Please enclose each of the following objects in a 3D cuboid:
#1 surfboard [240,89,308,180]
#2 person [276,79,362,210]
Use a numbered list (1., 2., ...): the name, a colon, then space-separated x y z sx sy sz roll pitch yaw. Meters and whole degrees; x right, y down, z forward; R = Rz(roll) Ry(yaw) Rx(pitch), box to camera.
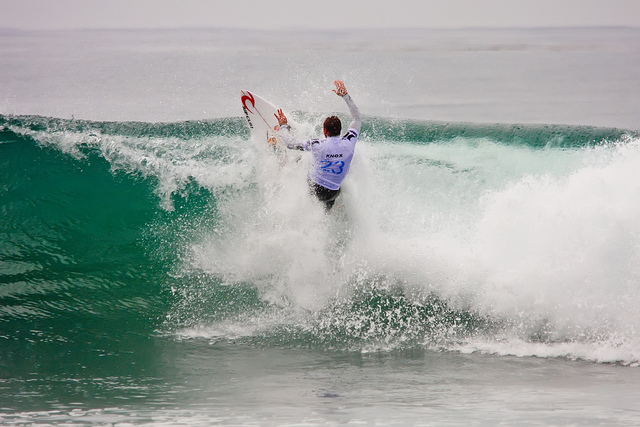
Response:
1. surfboard: -1.140 -1.744 17.699 0.466 0.843 2.869 14 37 -52
2. person: 0.072 -1.327 16.532 1.612 2.753 0.921 -8 34 -1
